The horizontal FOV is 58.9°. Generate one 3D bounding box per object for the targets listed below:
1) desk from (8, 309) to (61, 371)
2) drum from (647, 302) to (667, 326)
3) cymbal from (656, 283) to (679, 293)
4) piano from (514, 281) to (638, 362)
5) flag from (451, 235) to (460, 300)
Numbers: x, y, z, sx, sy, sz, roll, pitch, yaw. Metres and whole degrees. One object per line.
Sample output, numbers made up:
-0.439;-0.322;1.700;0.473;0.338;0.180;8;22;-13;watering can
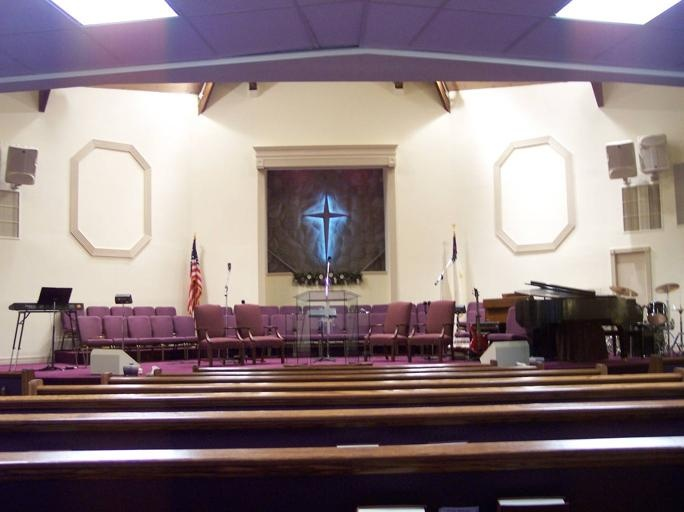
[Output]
-4.221;1.115;8.189;0.648;0.848;2.488;1;-3;-25;desk
4.293;0.796;8.241;0.164;0.261;0.241;-5;-9;21;drum
4.940;0.485;9.157;0.304;0.145;0.543;-2;-4;33;cymbal
2.631;0.617;6.690;1.069;0.854;1.153;-3;7;9;piano
2.145;0.185;11.543;0.132;1.334;0.197;-2;-3;30;flag
